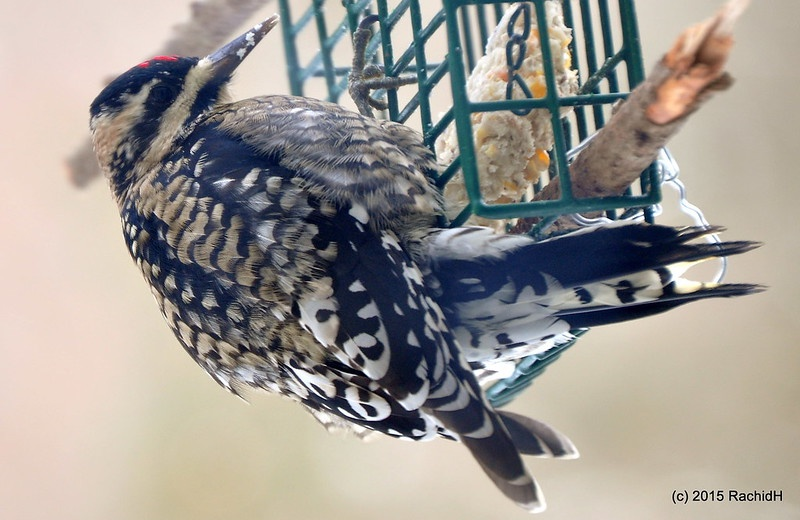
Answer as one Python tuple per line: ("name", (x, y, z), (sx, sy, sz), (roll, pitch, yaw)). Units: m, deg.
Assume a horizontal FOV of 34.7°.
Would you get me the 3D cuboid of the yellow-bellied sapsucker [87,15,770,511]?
("yellow-bellied sapsucker", (-0.071, 0.018, 2.961), (1.915, 0.581, 0.878), (16, -91, 17))
